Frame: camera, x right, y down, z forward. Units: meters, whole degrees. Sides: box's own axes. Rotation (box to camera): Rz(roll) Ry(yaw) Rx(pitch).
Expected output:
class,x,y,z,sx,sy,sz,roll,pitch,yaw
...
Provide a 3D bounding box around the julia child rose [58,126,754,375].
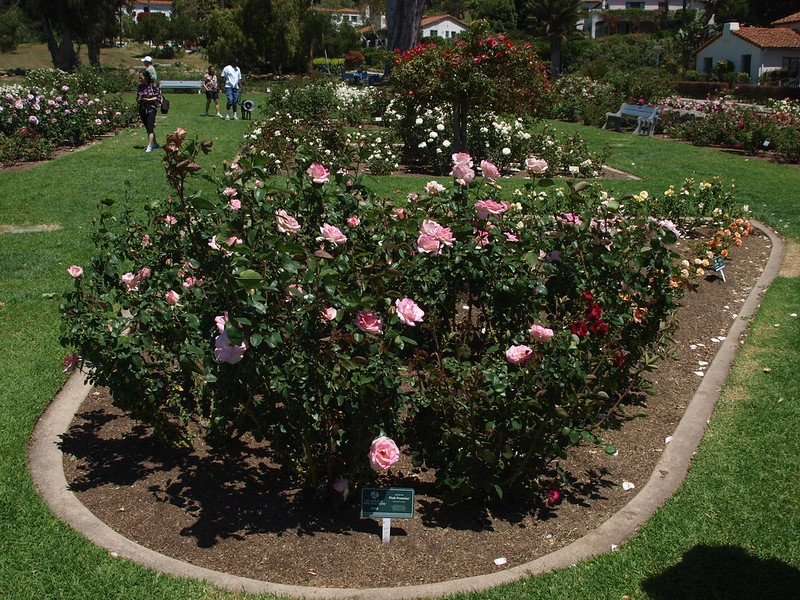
class,x,y,z,sx,sy,sz,roll,pitch,yaw
julia child rose,-0.032,-0.387,5.160,3.680,1.414,2.526,5,32,-6

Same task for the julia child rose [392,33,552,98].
class,x,y,z,sx,sy,sz,roll,pitch,yaw
julia child rose,1.326,-4.252,12.637,1.835,0.995,1.858,1,17,-5

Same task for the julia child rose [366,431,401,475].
class,x,y,z,sx,sy,sz,roll,pitch,yaw
julia child rose,-0.121,0.993,4.244,0.173,0.196,0.199,-20,30,-38
